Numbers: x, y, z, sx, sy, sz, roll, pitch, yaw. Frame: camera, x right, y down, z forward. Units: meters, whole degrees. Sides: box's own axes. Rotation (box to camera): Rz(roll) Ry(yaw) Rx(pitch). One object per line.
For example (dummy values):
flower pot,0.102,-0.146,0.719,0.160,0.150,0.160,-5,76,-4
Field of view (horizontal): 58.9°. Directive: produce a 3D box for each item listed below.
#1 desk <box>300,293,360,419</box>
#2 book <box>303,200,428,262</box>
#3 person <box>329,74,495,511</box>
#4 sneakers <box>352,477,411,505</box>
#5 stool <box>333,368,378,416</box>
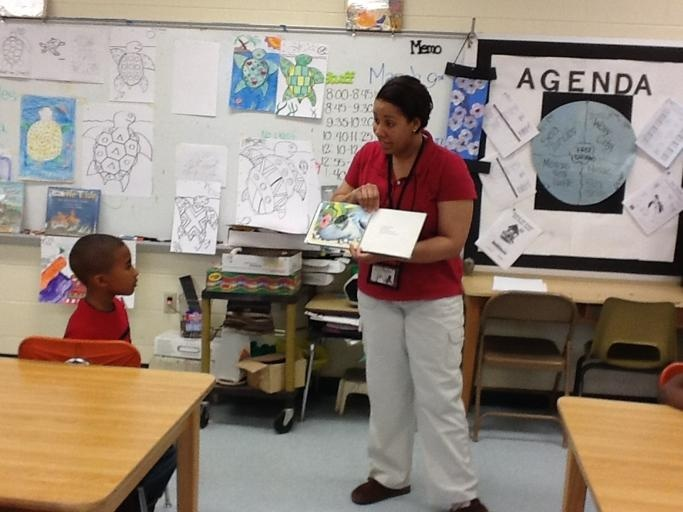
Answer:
desk,-0.037,0.606,3.681,0.377,0.490,0.324,7,-11,-5
book,0.098,-0.112,2.523,0.479,0.183,0.177,7,13,22
person,0.328,0.218,2.693,0.700,1.948,0.387,2,12,0
sneakers,0.190,1.126,2.945,0.285,0.121,0.098,1,-3,-15
stool,0.057,0.833,3.864,0.272,0.201,0.284,0,1,0
